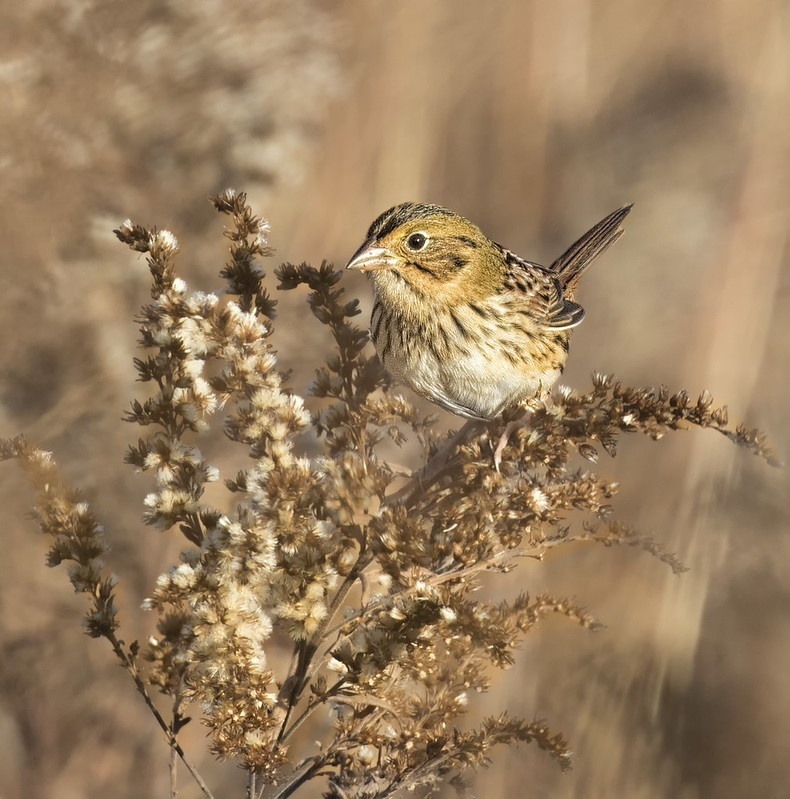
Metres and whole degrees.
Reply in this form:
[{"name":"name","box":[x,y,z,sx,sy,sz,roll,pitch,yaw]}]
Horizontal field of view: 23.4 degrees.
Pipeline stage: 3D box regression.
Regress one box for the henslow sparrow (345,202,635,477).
[{"name":"henslow sparrow","box":[0.247,-0.195,4.561,0.928,0.623,0.423,-18,23,-39]}]
